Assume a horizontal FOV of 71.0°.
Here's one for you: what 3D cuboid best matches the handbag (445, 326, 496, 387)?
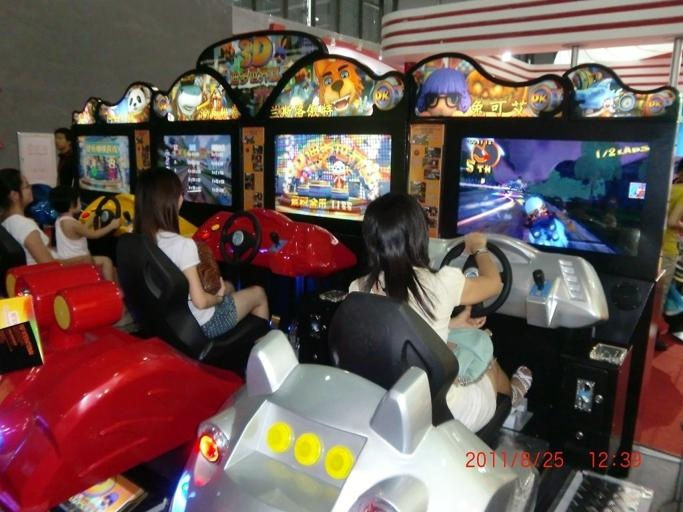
[{"bbox_3d":[0.532,0.415,1.956,0.211,0.071,0.181,-6,16,45],"label":"handbag"}]

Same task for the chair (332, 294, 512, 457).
[{"bbox_3d":[0.224,0.329,1.570,0.346,0.539,0.408,-13,6,42],"label":"chair"}]

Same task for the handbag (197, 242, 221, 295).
[{"bbox_3d":[-0.690,0.064,2.501,0.067,0.246,0.165,-7,-8,18],"label":"handbag"}]

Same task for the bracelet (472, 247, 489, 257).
[{"bbox_3d":[0.555,-0.022,1.912,0.046,0.031,0.051,-2,-14,27],"label":"bracelet"}]

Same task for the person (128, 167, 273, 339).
[{"bbox_3d":[-0.698,0.081,2.611,0.515,1.135,0.787,6,12,44],"label":"person"}]

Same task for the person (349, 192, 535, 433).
[{"bbox_3d":[0.440,0.240,2.069,0.800,1.073,0.574,-14,13,-39],"label":"person"}]
